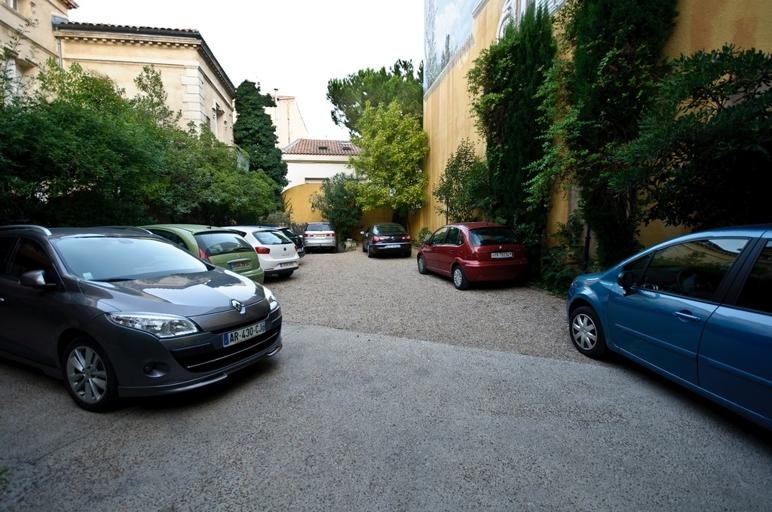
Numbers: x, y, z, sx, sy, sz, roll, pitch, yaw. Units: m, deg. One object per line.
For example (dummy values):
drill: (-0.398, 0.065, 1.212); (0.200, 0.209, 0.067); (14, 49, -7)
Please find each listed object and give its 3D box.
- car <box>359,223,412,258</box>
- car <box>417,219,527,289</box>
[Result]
car: (0.021, -0.637, 20.379); (1.596, 1.448, 2.133); (-3, 10, -13)
car: (2.147, -0.090, 12.544); (1.293, 1.158, 2.386); (-1, 10, -15)
